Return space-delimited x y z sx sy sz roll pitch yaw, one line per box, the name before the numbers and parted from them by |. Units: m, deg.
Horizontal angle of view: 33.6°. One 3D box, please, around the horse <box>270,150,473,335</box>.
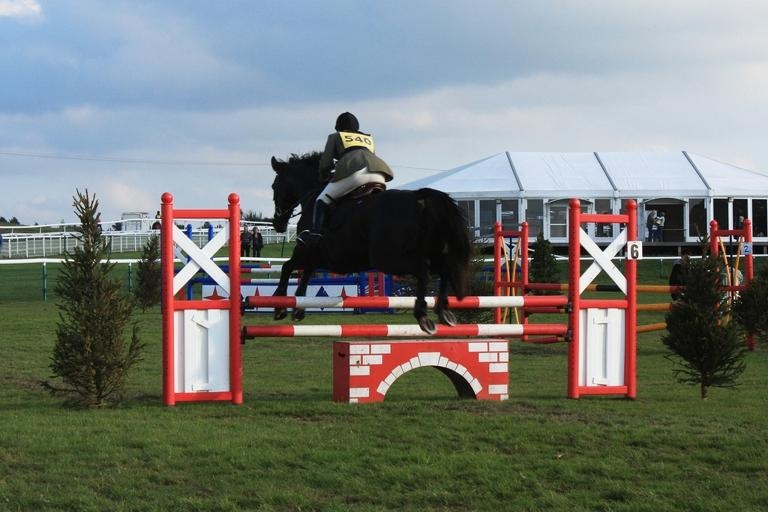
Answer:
horse | -0.347 -0.273 19.973 1.115 2.727 4.311 -5 4 -44
